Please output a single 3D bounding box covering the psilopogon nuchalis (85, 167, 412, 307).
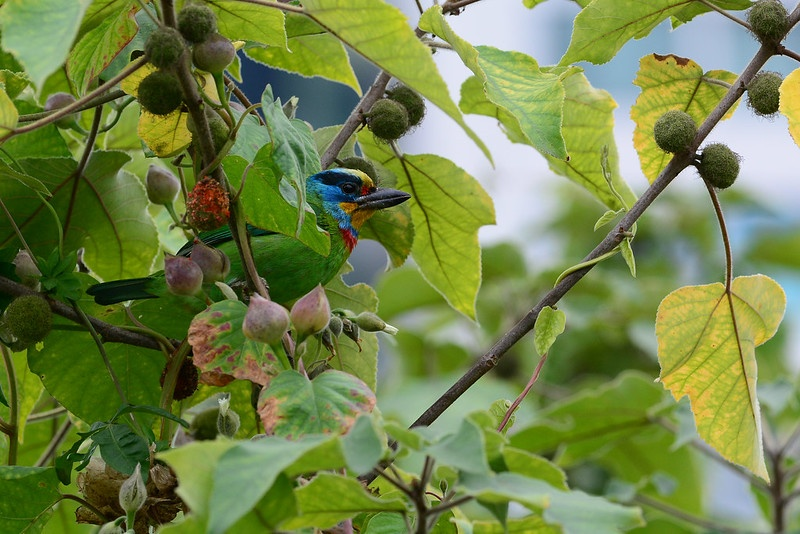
[{"bbox_3d":[-0.398,-0.117,3.307,0.909,0.464,0.301,6,1,32],"label":"psilopogon nuchalis"}]
